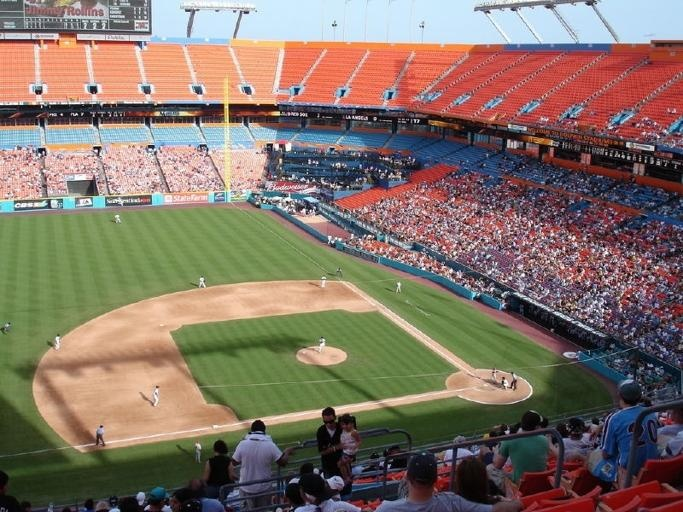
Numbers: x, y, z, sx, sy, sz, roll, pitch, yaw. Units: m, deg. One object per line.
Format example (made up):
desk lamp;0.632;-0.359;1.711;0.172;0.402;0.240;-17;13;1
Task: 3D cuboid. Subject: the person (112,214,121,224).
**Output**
person;-22.919;-3.742;63.871;1.130;1.019;1.844;0;8;-25

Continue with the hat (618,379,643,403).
hat;4.895;2.246;10.613;0.426;0.236;0.473;2;27;15

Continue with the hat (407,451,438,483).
hat;1.095;2.866;8.554;0.372;0.203;0.421;1;19;-1
